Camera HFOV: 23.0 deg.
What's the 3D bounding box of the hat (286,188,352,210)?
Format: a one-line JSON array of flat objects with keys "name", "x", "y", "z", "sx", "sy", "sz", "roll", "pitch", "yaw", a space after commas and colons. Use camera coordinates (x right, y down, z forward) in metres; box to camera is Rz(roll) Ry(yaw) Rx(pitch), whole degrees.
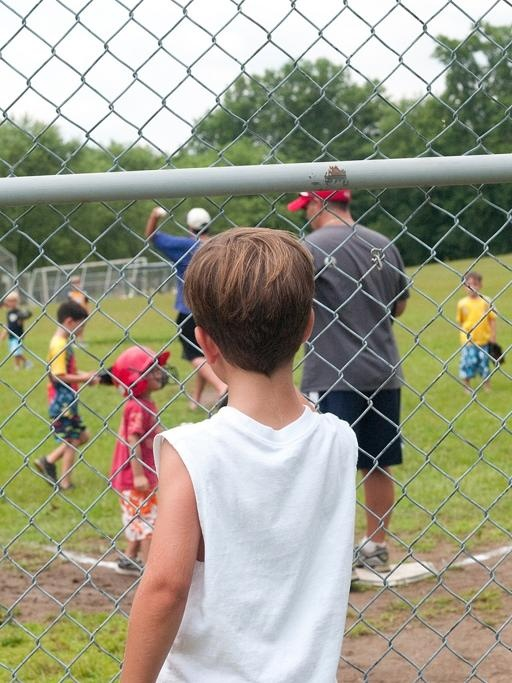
[{"name": "hat", "x": 0.267, "y": -0.610, "z": 5.389, "sx": 0.337, "sy": 0.085, "sz": 0.186, "roll": -2, "pitch": 4, "yaw": 5}]
